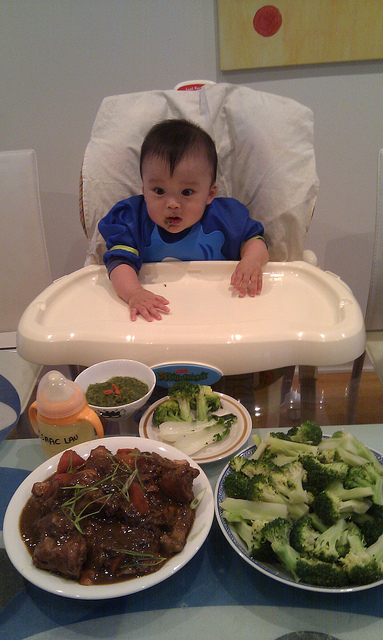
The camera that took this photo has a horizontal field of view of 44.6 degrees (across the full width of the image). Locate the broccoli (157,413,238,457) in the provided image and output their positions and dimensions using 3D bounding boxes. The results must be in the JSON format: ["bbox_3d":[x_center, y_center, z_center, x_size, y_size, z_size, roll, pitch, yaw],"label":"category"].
[{"bbox_3d":[0.006,0.199,0.825,0.091,0.029,0.072,-13,18,-26],"label":"broccoli"}]

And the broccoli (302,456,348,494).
[{"bbox_3d":[0.181,0.214,0.646,0.056,0.038,0.064,-10,13,-25],"label":"broccoli"}]

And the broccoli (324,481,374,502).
[{"bbox_3d":[0.210,0.230,0.623,0.043,0.028,0.017,-12,65,5],"label":"broccoli"}]

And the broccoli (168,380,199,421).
[{"bbox_3d":[-0.016,0.156,0.883,0.059,0.079,0.060,-5,-16,4],"label":"broccoli"}]

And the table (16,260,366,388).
[{"bbox_3d":[-0.002,-0.014,1.089,0.719,0.120,0.423,-1,31,2],"label":"table"}]

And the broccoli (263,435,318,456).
[{"bbox_3d":[0.163,0.212,0.746,0.074,0.024,0.016,7,55,27],"label":"broccoli"}]

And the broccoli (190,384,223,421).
[{"bbox_3d":[0.026,0.156,0.879,0.056,0.069,0.054,-8,-16,31],"label":"broccoli"}]

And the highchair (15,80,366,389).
[{"bbox_3d":[0.000,-0.162,1.337,0.732,0.935,0.953,1,33,3],"label":"highchair"}]

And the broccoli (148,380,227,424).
[{"bbox_3d":[-0.037,0.162,0.913,0.128,0.082,0.094,0,9,-6],"label":"broccoli"}]

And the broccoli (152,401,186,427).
[{"bbox_3d":[-0.044,0.170,0.877,0.040,0.052,0.046,-23,-5,-16],"label":"broccoli"}]

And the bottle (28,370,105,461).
[{"bbox_3d":[-0.221,0.177,0.759,0.105,0.152,0.081,17,26,31],"label":"bottle"}]

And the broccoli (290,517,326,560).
[{"bbox_3d":[0.140,0.275,0.587,0.033,0.027,0.046,-2,13,-6],"label":"broccoli"}]

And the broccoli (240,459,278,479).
[{"bbox_3d":[0.097,0.218,0.687,0.029,0.014,0.030,-6,8,-15],"label":"broccoli"}]

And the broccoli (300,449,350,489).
[{"bbox_3d":[0.193,0.204,0.666,0.041,0.027,0.050,-2,21,-2],"label":"broccoli"}]

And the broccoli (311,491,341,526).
[{"bbox_3d":[0.177,0.246,0.611,0.029,0.016,0.040,-22,65,23],"label":"broccoli"}]
